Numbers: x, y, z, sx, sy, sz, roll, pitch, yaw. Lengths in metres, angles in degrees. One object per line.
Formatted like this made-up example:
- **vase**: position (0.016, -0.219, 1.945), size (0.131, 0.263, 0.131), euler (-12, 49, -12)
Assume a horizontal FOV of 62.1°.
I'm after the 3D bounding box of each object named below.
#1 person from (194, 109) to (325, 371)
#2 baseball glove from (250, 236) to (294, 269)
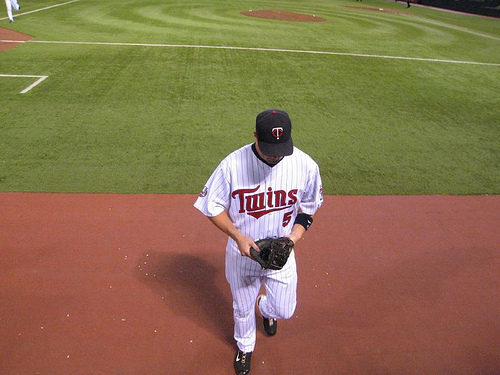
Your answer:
- **person**: position (0.087, 0.555, 4.133), size (0.990, 2.562, 0.934), euler (13, 30, 20)
- **baseball glove**: position (0.205, 0.618, 3.903), size (0.408, 0.206, 0.239), euler (1, 28, -1)
